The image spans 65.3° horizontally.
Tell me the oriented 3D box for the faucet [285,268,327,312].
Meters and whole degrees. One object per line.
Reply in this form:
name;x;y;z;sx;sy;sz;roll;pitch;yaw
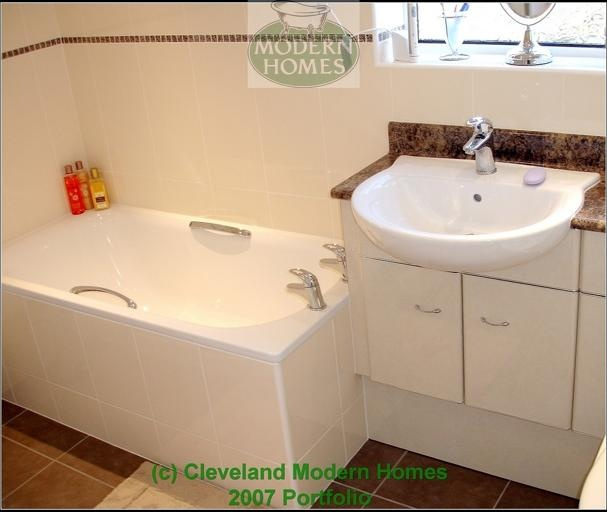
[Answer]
faucet;0.009;0.112;1.595;0.123;0.131;0.103;-7;26;-4

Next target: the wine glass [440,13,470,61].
wine glass;0.511;-0.746;1.594;0.083;0.133;0.074;-1;26;9

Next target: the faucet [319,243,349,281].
faucet;0.115;0.030;1.761;0.110;0.146;0.053;12;47;21

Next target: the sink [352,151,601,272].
sink;0.444;-0.124;1.365;0.607;0.184;0.551;14;30;34

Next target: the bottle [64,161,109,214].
bottle;-1.145;-0.357;2.481;0.229;0.291;0.116;-14;24;-27

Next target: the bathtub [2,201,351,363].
bathtub;-0.584;0.137;2.071;1.667;0.427;0.763;9;28;27
